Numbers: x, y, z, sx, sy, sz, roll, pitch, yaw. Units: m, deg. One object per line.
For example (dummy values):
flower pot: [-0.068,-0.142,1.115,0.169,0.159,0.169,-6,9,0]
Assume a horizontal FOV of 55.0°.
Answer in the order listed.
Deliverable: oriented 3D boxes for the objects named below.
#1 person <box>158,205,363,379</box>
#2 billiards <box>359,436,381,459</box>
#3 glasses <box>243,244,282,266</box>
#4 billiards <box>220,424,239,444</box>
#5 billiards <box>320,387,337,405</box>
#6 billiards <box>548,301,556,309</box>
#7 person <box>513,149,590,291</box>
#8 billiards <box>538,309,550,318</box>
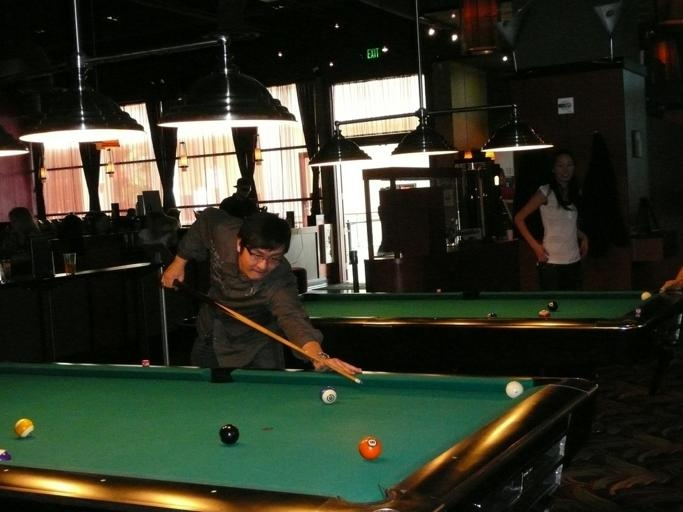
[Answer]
person: [-0.437,0.137,3.398,0.771,0.953,0.706,0,11,-24]
billiards: [0.089,0.598,2.051,0.075,0.067,0.076,-3,7,0]
glasses: [-0.363,0.002,3.112,0.169,0.097,0.127,-3,7,-6]
billiards: [-0.370,0.588,2.158,0.065,0.059,0.064,0,1,-23]
billiards: [-0.042,0.534,2.525,0.056,0.057,0.031,-10,18,-11]
billiards: [1.306,0.302,4.069,0.041,0.039,0.053,-14,-11,19]
person: [1.746,0.026,5.383,0.601,1.693,0.507,-8,10,-23]
billiards: [1.192,0.338,3.832,0.065,0.036,0.061,-1,-6,5]
